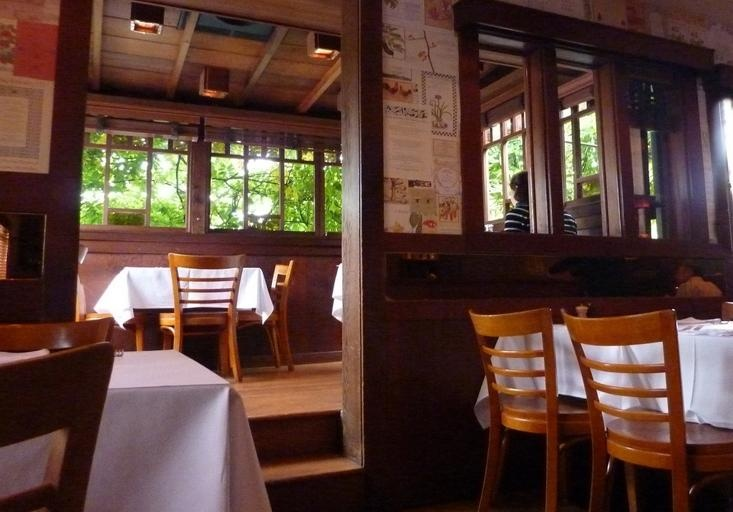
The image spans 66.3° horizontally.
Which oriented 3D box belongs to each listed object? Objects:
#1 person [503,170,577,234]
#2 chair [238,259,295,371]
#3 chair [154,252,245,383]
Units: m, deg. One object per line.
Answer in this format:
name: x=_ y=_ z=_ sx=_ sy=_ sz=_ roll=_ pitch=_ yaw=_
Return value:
person: x=1.177 y=-0.388 z=3.813 sx=0.450 sy=0.454 sz=0.714 roll=-1 pitch=2 yaw=17
chair: x=-0.996 y=0.489 z=4.957 sx=0.723 sy=0.886 sz=0.696 roll=0 pitch=-1 yaw=4
chair: x=-1.267 y=0.468 z=4.344 sx=0.644 sy=0.933 sz=0.680 roll=1 pitch=-3 yaw=-34
